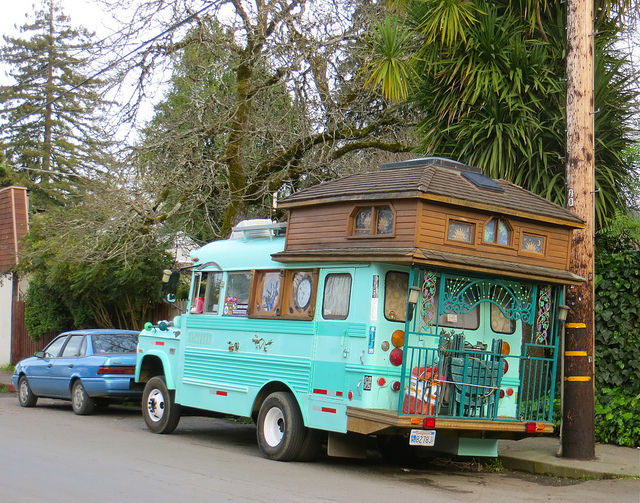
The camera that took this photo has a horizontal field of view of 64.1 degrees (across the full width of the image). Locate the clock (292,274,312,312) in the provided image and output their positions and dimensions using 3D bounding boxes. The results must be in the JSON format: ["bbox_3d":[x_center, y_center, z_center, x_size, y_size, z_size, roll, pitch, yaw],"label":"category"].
[{"bbox_3d":[-0.244,0.622,7.429,0.051,0.476,0.443,3,-13,-26],"label":"clock"}]

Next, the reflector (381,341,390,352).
[{"bbox_3d":[0.814,1.176,6.350,0.120,0.115,0.024,9,-11,-41],"label":"reflector"}]

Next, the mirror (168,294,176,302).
[{"bbox_3d":[-2.731,0.870,9.445,0.117,0.149,0.152,2,1,-10],"label":"mirror"}]

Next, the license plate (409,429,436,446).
[{"bbox_3d":[1.219,2.225,6.142,0.377,0.223,0.187,8,-11,-33],"label":"license plate"}]

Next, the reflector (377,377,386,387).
[{"bbox_3d":[0.764,1.604,6.302,0.130,0.114,0.027,8,-11,-36],"label":"reflector"}]

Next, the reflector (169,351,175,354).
[{"bbox_3d":[-2.801,1.908,9.634,0.061,0.063,0.016,2,-5,16],"label":"reflector"}]

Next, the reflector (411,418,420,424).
[{"bbox_3d":[1.112,1.969,5.941,0.108,0.080,0.059,2,0,-19],"label":"reflector"}]

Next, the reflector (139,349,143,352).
[{"bbox_3d":[-3.650,2.013,10.410,0.064,0.048,0.037,1,3,14],"label":"reflector"}]

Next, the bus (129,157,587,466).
[{"bbox_3d":[-0.044,1.238,9.477,4.001,4.149,7.227,17,-16,-42],"label":"bus"}]

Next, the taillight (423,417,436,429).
[{"bbox_3d":[1.299,2.014,6.030,0.176,0.122,0.031,5,-9,-22],"label":"taillight"}]

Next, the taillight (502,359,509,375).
[{"bbox_3d":[2.584,1.588,7.075,0.054,0.197,0.343,-2,-10,23],"label":"taillight"}]

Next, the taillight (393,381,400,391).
[{"bbox_3d":[0.959,1.684,6.389,0.105,0.119,0.059,-5,-2,-42],"label":"taillight"}]

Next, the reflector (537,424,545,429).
[{"bbox_3d":[2.980,2.358,6.883,0.067,0.027,0.071,-1,-3,31],"label":"reflector"}]

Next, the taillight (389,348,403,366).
[{"bbox_3d":[0.965,1.320,6.429,0.181,0.196,0.043,10,-3,-26],"label":"taillight"}]

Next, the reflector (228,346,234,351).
[{"bbox_3d":[-1.454,1.588,8.379,0.059,0.079,0.067,-2,2,-38],"label":"reflector"}]

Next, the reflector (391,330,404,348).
[{"bbox_3d":[0.975,1.103,6.416,0.148,0.154,0.052,33,-20,-18],"label":"reflector"}]

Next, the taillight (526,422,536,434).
[{"bbox_3d":[2.827,2.342,6.865,0.126,0.183,0.134,0,0,-2],"label":"taillight"}]

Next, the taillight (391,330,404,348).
[{"bbox_3d":[0.975,1.103,6.416,0.173,0.191,0.099,4,-11,-4],"label":"taillight"}]
